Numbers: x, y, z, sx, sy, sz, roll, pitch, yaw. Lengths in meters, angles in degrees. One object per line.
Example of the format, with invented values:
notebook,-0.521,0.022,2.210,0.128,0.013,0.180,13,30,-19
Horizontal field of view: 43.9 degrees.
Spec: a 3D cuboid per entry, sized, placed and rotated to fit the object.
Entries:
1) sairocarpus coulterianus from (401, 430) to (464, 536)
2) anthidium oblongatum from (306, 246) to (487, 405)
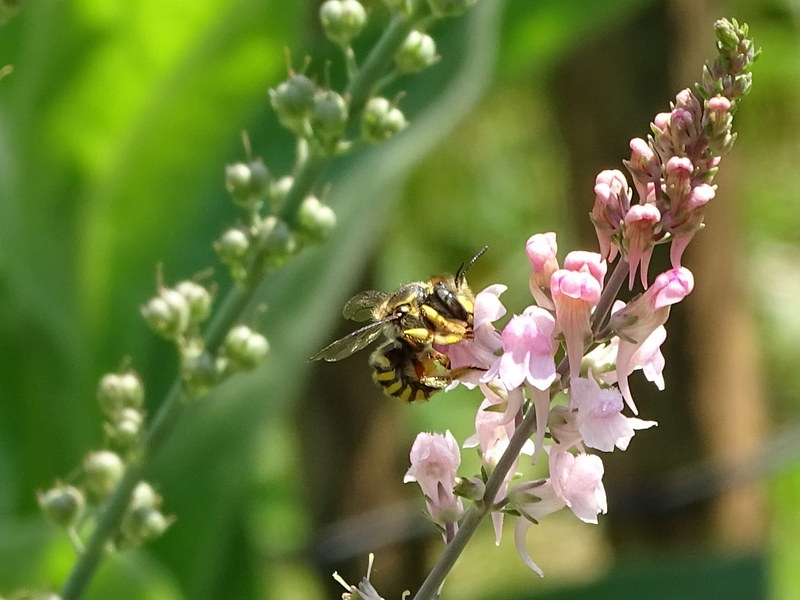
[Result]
sairocarpus coulterianus,0.052,0.276,1.375,0.067,0.181,0.070,-19,-20,9
anthidium oblongatum,-0.010,-0.004,1.484,0.200,0.283,0.231,-2,10,2
